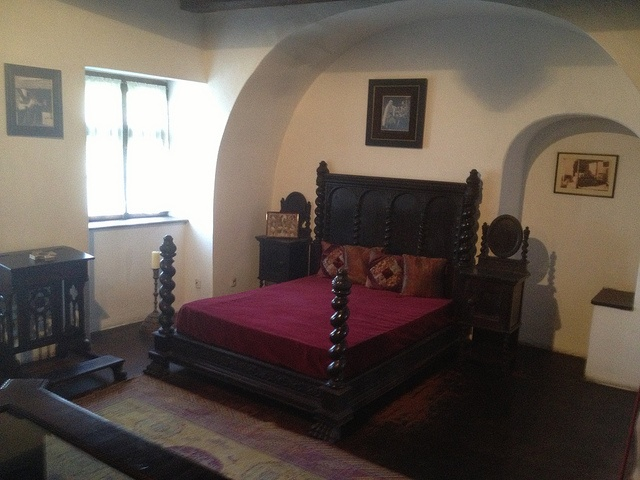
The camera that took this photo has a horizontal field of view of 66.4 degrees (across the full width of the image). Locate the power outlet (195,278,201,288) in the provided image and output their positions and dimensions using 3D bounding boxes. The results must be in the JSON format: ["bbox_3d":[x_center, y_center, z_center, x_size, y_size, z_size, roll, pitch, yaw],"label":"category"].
[{"bbox_3d":[-1.686,0.602,6.759,0.111,0.136,0.013,15,20,40],"label":"power outlet"}]

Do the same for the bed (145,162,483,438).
[{"bbox_3d":[0.092,0.326,5.607,2.438,2.439,3.244,7,6,33],"label":"bed"}]

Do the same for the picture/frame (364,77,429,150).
[{"bbox_3d":[1.008,-1.638,6.245,0.789,0.900,0.067,13,21,31],"label":"picture/frame"}]

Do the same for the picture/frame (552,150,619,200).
[{"bbox_3d":[3.284,-0.799,5.993,0.540,0.488,0.039,9,16,33],"label":"picture/frame"}]

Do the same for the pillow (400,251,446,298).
[{"bbox_3d":[1.231,0.445,5.845,0.448,0.475,0.171,5,-14,10],"label":"pillow"}]

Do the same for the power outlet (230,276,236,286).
[{"bbox_3d":[-1.225,0.581,6.852,0.014,0.141,0.131,7,4,33],"label":"power outlet"}]

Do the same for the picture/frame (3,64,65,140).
[{"bbox_3d":[-2.929,-1.420,4.964,0.063,0.992,0.709,11,14,41],"label":"picture/frame"}]
